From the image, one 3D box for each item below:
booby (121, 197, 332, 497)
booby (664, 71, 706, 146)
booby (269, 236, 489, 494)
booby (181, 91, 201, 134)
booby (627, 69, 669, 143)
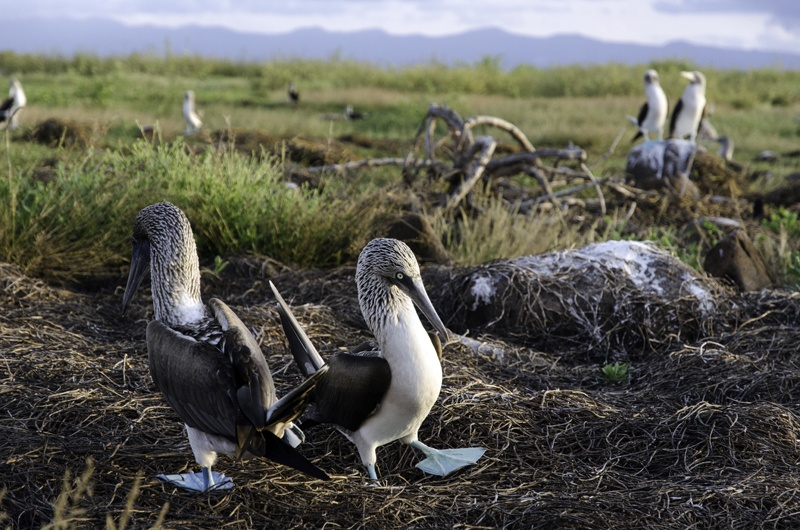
[{"bbox_3d":[-1.720,0.824,9.774,2.072,2.461,0.960,19,26,40],"label":"booby"},{"bbox_3d":[4.844,-2.658,17.775,0.488,1.205,0.729,7,20,13],"label":"booby"},{"bbox_3d":[-0.355,0.841,10.229,2.218,2.206,1.259,2,9,39],"label":"booby"},{"bbox_3d":[-2.853,-2.139,14.724,0.229,0.523,0.306,-9,22,-27],"label":"booby"},{"bbox_3d":[4.277,-2.664,18.149,0.628,1.317,0.957,3,20,4],"label":"booby"}]
